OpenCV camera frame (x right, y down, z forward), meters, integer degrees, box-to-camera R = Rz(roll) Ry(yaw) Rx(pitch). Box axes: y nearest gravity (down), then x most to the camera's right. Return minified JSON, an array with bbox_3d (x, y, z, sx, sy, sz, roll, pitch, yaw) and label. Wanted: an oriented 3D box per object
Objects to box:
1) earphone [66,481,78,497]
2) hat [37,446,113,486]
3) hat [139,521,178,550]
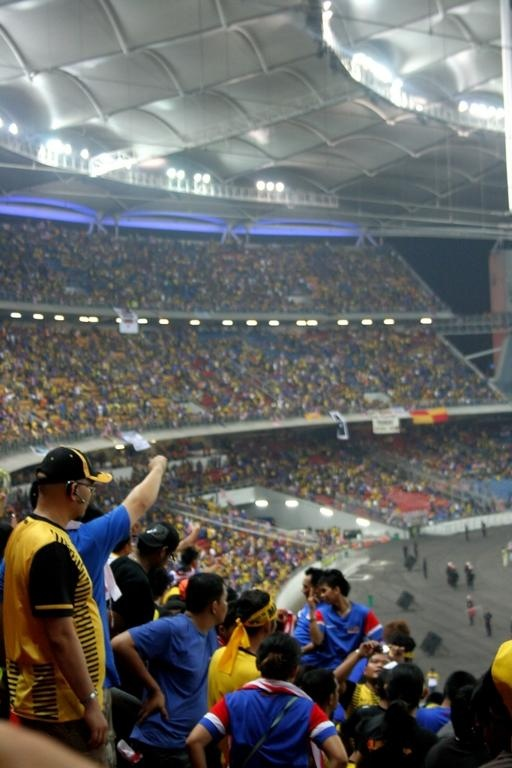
[{"bbox_3d":[-0.690,0.390,3.311,0.045,0.052,0.056,5,-21,2],"label":"earphone"},{"bbox_3d":[-0.701,0.303,3.387,0.230,0.111,0.140,-3,4,-31],"label":"hat"},{"bbox_3d":[-0.489,0.768,4.485,0.181,0.094,0.112,12,-9,-37],"label":"hat"}]
